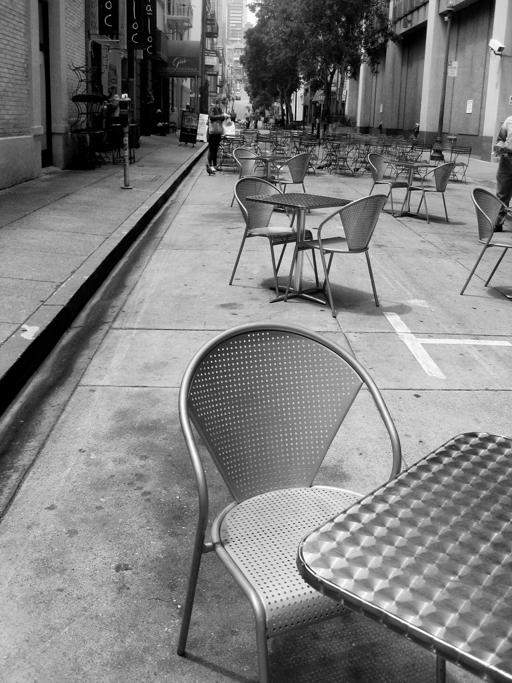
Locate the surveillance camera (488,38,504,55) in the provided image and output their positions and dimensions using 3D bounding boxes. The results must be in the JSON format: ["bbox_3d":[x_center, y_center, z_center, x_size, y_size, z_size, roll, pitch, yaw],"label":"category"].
[{"bbox_3d":[12.017,-14.721,25.695,0.508,0.363,0.922,1,39,-11],"label":"surveillance camera"}]

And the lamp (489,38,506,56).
[{"bbox_3d":[12.024,-14.801,25.696,0.508,0.374,0.994,1,52,-12],"label":"lamp"}]
